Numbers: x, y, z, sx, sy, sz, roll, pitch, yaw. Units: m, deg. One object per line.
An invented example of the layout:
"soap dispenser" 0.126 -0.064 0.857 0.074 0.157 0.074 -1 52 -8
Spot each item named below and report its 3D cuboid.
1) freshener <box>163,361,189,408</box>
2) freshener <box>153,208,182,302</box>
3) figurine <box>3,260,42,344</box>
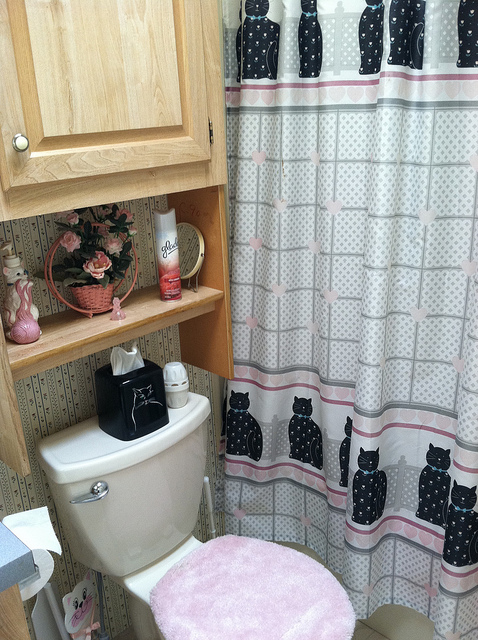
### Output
"freshener" -0.159 0.165 1.188 0.079 0.112 0.081 5 16 29
"freshener" -0.168 -0.153 1.124 0.055 0.213 0.065 -3 8 -11
"figurine" -0.408 -0.030 0.885 0.055 0.142 0.058 -6 9 -27
